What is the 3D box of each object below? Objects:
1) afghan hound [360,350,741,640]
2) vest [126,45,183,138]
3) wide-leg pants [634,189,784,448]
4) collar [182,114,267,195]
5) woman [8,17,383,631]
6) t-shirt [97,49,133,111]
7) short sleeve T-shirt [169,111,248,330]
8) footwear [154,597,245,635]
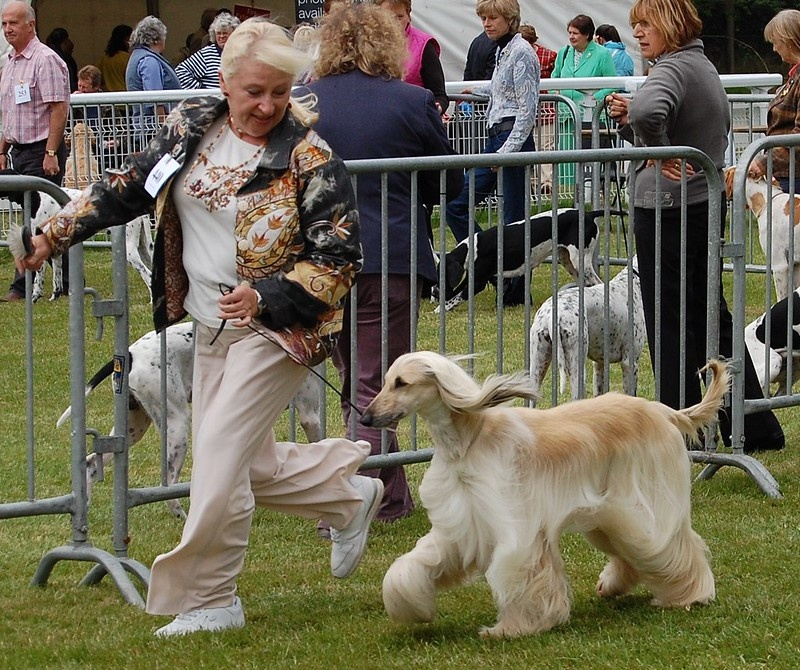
[{"bbox_3d":[0.728,0.594,6.700,1.655,1.367,0.658,-7,14,-13],"label":"afghan hound"},{"bbox_3d":[-2.299,-2.313,14.537,0.343,0.790,0.634,-4,13,-8],"label":"vest"},{"bbox_3d":[1.653,-0.062,8.303,0.242,1.490,0.723,-6,-3,17],"label":"wide-leg pants"},{"bbox_3d":[-0.748,-0.693,6.420,0.206,0.430,0.099,25,-4,15],"label":"collar"},{"bbox_3d":[-0.808,0.076,6.631,1.504,2.852,0.878,-10,16,-29],"label":"woman"},{"bbox_3d":[-3.464,-3.188,18.670,0.468,0.233,0.642,1,-32,-7],"label":"t-shirt"},{"bbox_3d":[-0.786,-0.505,6.565,0.340,0.890,0.348,14,33,7],"label":"short sleeve T-shirt"},{"bbox_3d":[-0.836,1.165,6.546,0.401,0.200,0.147,-2,-5,-18],"label":"footwear"}]
